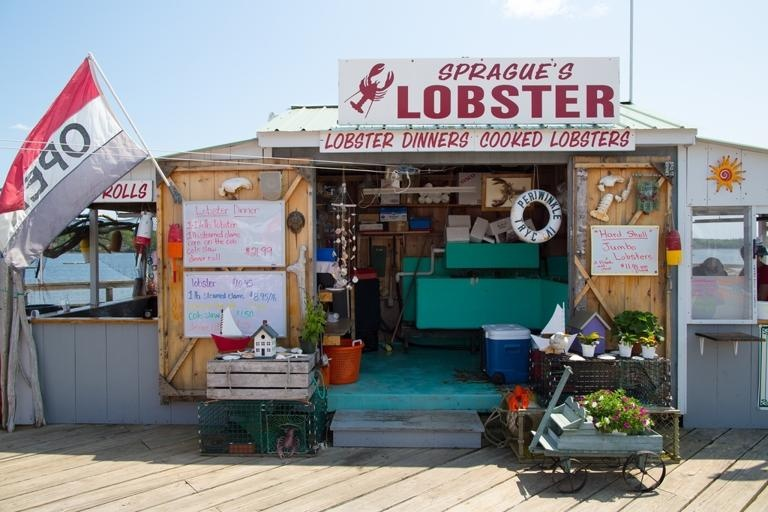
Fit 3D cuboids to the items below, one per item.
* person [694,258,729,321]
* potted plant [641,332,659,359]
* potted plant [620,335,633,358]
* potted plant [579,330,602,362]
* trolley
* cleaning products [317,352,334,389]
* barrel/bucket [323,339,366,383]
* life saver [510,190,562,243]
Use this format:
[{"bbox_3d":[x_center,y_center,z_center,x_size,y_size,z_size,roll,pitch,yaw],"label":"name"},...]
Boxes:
[{"bbox_3d":[4.708,0.495,11.704,0.413,0.943,0.371,1,-1,-6],"label":"person"},{"bbox_3d":[3.671,1.241,11.331,0.230,0.344,0.225,-3,-3,15],"label":"potted plant"},{"bbox_3d":[3.314,1.260,11.396,0.264,0.299,0.275,-2,2,13],"label":"potted plant"},{"bbox_3d":[2.864,1.242,11.378,0.297,0.347,0.316,-2,-3,14],"label":"potted plant"},{"bbox_3d":[2.906,2.283,11.025,1.886,1.533,1.321,-3,2,-1],"label":"trolley"},{"bbox_3d":[-0.847,1.632,11.721,0.160,0.515,0.541,-2,-2,-3],"label":"cleaning products"},{"bbox_3d":[-0.569,1.552,12.131,0.619,0.499,0.595,-1,2,0],"label":"barrel/bucket"},{"bbox_3d":[2.199,-0.586,11.927,0.712,0.767,0.354,-1,-3,-26],"label":"life saver"}]
